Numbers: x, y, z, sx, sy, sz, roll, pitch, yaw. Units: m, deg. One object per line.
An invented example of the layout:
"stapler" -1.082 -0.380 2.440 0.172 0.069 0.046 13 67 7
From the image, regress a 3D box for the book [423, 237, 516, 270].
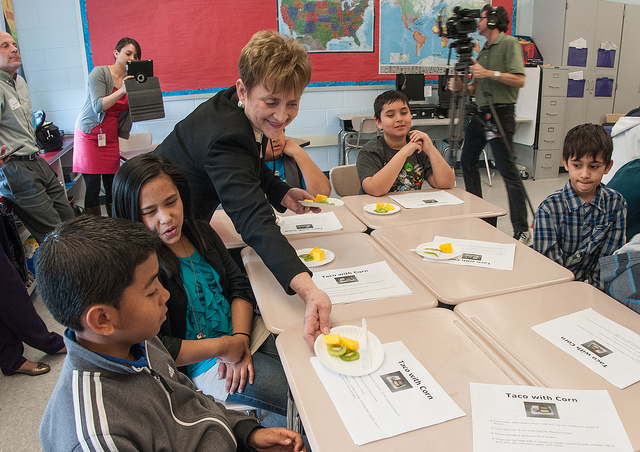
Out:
"book" 0.649 0.112 1.797 0.369 0.027 0.238 3 23 17

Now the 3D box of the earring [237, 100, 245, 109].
"earring" -0.323 -0.488 1.694 0.025 0.029 0.045 -12 23 -19

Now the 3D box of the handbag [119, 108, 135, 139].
"handbag" -1.858 -1.036 4.005 0.121 0.383 0.109 15 22 -10
